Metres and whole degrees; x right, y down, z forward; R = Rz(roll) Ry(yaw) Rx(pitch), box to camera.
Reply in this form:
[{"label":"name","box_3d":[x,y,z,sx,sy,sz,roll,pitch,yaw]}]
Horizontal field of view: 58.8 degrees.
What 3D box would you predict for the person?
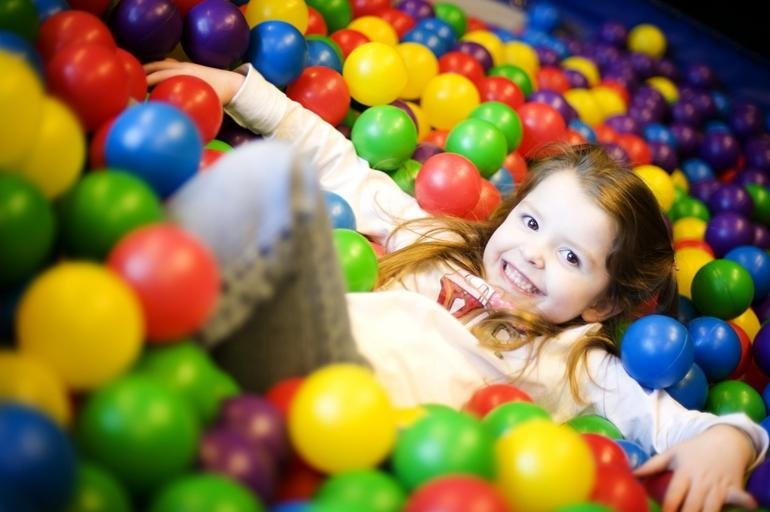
[{"label":"person","box_3d":[0.304,0.150,1.704,1.113,0.436,1.064,51,11,19]}]
